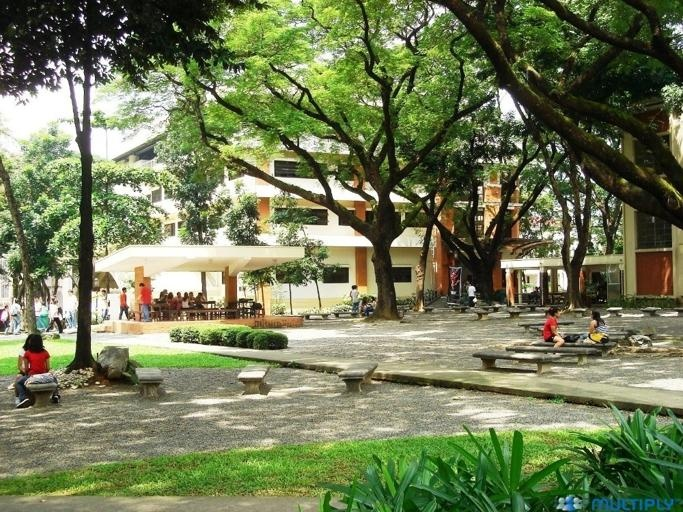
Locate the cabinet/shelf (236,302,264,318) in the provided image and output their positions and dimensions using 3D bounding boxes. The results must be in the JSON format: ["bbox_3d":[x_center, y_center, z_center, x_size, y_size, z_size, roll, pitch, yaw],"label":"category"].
[{"bbox_3d":[-4.203,2.494,30.535,0.841,0.500,0.819,0,-6,-1],"label":"cabinet/shelf"}]

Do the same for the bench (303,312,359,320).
[{"bbox_3d":[-0.619,3.196,35.899,2.444,0.347,4.363,-3,-4,19],"label":"bench"}]

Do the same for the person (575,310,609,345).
[{"bbox_3d":[6.229,1.750,16.333,0.837,0.829,0.820,5,-5,-33],"label":"person"}]

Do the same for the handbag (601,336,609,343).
[{"bbox_3d":[6.322,2.002,15.940,0.199,0.185,0.152,6,-7,24],"label":"handbag"}]

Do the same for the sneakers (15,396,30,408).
[{"bbox_3d":[-5.430,2.462,11.198,0.300,0.164,0.173,-3,-3,25],"label":"sneakers"}]

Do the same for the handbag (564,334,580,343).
[{"bbox_3d":[5.749,2.072,16.774,0.256,0.128,0.434,-2,1,-3],"label":"handbag"}]

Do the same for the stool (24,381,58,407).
[{"bbox_3d":[-5.078,2.338,11.240,0.458,0.261,0.446,2,-3,-39],"label":"stool"}]

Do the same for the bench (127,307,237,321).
[{"bbox_3d":[-6.507,2.525,29.273,3.867,0.575,1.061,-1,-3,-13],"label":"bench"}]
